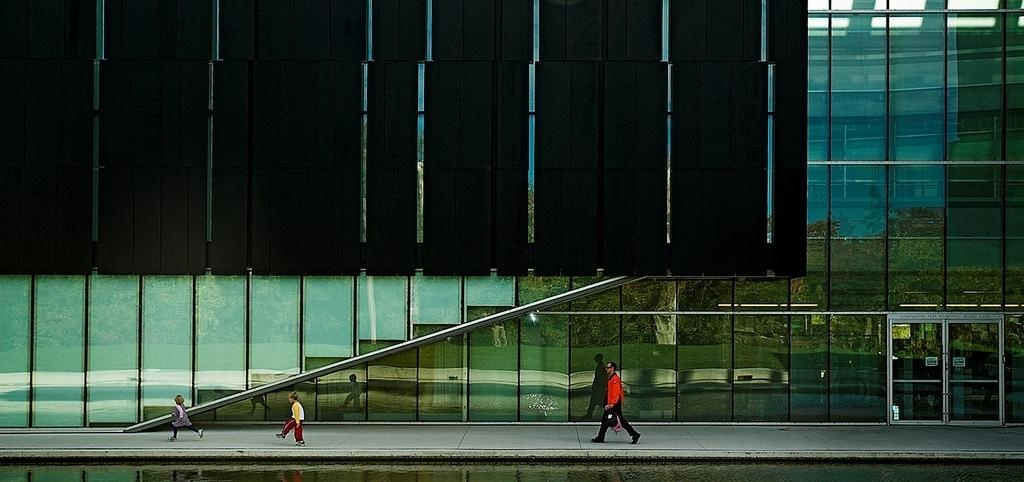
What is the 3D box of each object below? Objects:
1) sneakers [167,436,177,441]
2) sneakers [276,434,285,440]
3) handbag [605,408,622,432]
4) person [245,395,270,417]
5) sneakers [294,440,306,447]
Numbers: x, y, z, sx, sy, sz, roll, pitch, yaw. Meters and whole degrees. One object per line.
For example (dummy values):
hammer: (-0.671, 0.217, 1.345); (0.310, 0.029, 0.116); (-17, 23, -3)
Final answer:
sneakers: (-15.489, 9.077, 56.414); (0.457, 0.225, 0.154); (4, 1, 20)
sneakers: (-10.550, 8.942, 56.303); (0.576, 0.189, 0.188); (11, -6, 35)
handbag: (4.672, 8.155, 55.868); (0.616, 0.819, 0.672); (-5, -16, 10)
person: (-12.039, 7.894, 58.974); (0.904, 0.986, 0.398); (1, -17, -9)
sneakers: (-9.493, 9.179, 55.622); (0.532, 0.165, 0.173); (3, -5, 3)
